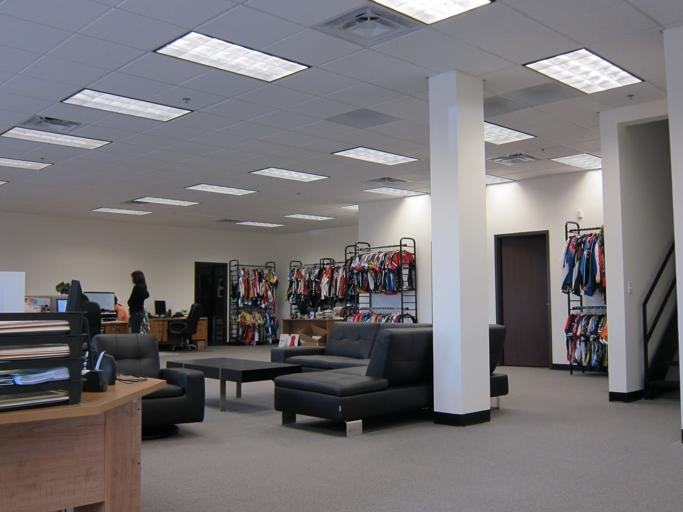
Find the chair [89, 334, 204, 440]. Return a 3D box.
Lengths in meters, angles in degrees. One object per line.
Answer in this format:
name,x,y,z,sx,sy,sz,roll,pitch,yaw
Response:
chair,-1.895,1.227,5.094,1.102,1.091,1.143,3,-7,-34

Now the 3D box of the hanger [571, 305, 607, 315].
hanger,4.362,0.949,8.733,0.670,0.178,0.652,-4,-6,38

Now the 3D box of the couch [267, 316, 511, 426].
couch,0.323,1.370,6.271,2.751,1.025,2.523,2,-5,-27

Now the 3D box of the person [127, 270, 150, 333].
person,-3.716,0.817,9.038,0.317,1.153,1.163,1,-5,-22

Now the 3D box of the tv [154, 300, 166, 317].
tv,-5.202,1.512,14.170,0.386,0.440,0.144,6,-15,-42
